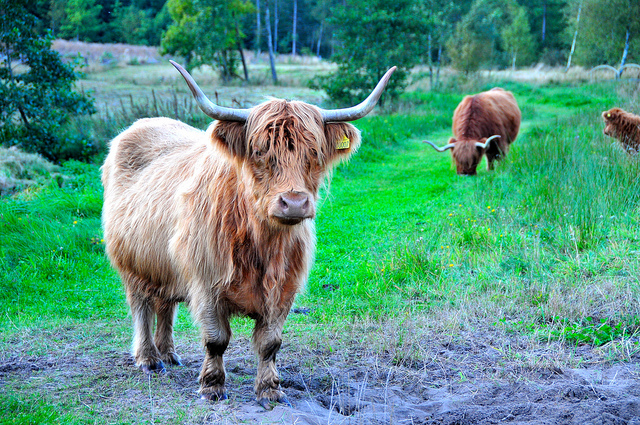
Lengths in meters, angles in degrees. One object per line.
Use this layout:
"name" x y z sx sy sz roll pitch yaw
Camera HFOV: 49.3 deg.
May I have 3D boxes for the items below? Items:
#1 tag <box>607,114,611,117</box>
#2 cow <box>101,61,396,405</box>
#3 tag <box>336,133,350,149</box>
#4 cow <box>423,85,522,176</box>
"tag" 4.825 -1.622 11.624 0.052 0.045 0.010 8 15 28
"cow" -1.245 0.126 8.244 2.918 3.715 1.508 8 15 29
"tag" 0.246 -0.814 7.888 0.135 0.149 0.146 -4 -8 -4
"cow" 3.189 -1.716 14.343 1.122 1.540 2.652 -1 23 29
